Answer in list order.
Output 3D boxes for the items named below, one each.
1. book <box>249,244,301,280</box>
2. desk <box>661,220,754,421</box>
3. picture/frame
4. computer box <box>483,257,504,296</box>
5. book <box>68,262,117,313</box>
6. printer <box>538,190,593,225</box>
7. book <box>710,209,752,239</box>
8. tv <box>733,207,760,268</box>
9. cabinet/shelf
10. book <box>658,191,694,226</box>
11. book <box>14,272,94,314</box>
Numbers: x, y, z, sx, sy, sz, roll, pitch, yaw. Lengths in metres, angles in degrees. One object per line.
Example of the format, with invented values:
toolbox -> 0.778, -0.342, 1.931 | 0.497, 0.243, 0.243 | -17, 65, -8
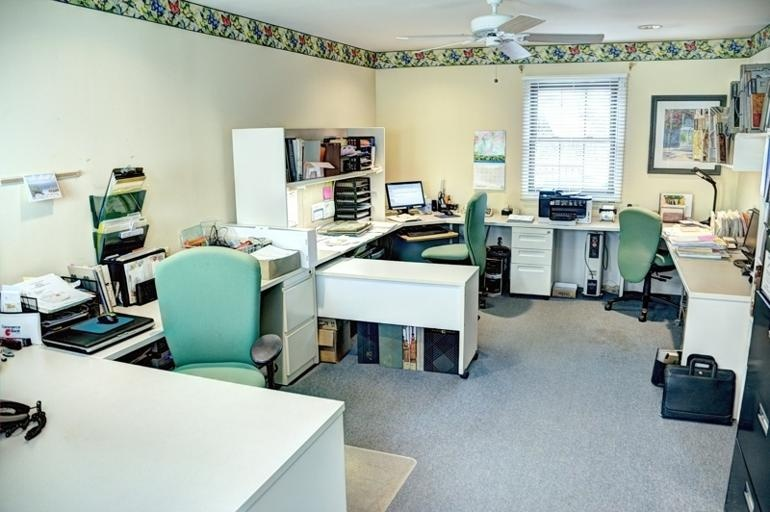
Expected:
book -> -0.959, 0.001, 4.385 | 0.261, 0.150, 0.368 | 4, 11, 20
desk -> 2.657, 0.526, 4.314 | 0.394, 0.723, 1.509 | 3, 19, 20
picture/frame -> 3.561, -1.433, 6.138 | 0.976, 1.091, 0.059 | 4, 10, 25
computer box -> 1.370, 0.265, 6.546 | 0.247, 0.448, 0.288 | 2, 9, 17
book -> -1.970, 0.217, 3.616 | 0.342, 0.308, 0.080 | 11, 16, 22
printer -> 2.157, -0.575, 6.275 | 0.560, 0.331, 0.372 | 2, 5, 20
book -> 3.625, -0.371, 5.528 | 0.336, 0.418, 0.367 | -6, 5, -29
tv -> 3.334, -0.153, 4.856 | 0.196, 0.500, 0.548 | 2, 8, 28
cabinet/shelf -> -0.806, -0.792, 5.349 | 0.365, 0.685, 1.211 | 4, 11, 25
book -> 3.472, -0.550, 6.248 | 0.471, 0.449, 0.245 | 1, 2, 20
book -> -2.166, 0.232, 3.414 | 0.305, 0.096, 0.301 | 11, 16, 27
